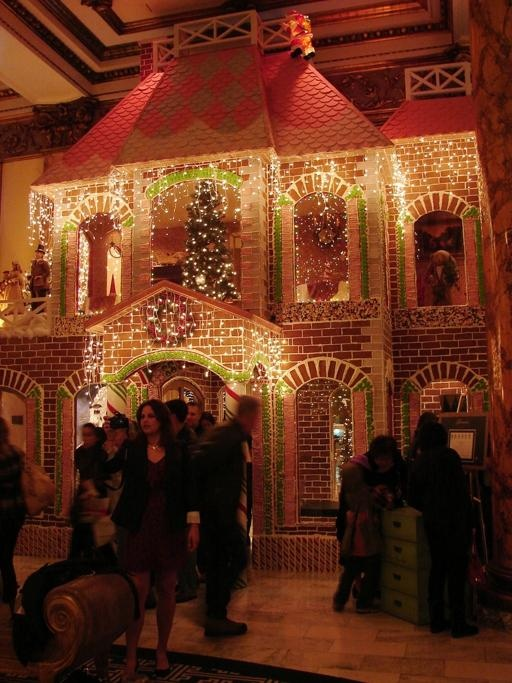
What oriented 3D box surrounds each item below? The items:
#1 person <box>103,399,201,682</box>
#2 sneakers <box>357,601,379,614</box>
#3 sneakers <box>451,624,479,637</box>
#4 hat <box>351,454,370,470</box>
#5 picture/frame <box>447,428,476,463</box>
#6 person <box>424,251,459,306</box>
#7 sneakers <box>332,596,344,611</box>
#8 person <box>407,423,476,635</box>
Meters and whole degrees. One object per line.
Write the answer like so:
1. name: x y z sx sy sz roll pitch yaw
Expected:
1. person: -0.722 1.432 5.540 0.598 1.993 0.342 1 -9 -6
2. sneakers: 1.087 2.603 7.411 0.233 0.086 0.085 -3 7 2
3. sneakers: 1.810 2.479 6.507 0.306 0.108 0.086 4 -9 -27
4. hat: 1.004 1.151 7.268 0.116 0.136 0.150 1 -10 1
5. picture/frame: 2.064 1.056 7.606 0.041 0.395 0.357 41 -30 -28
6. person: 3.055 -1.041 12.488 0.510 0.940 0.249 -1 -9 10
7. sneakers: 0.815 2.614 7.570 0.132 0.124 0.123 -2 -1 25
8. person: 1.641 1.637 6.686 0.406 1.834 0.549 5 -10 -28
